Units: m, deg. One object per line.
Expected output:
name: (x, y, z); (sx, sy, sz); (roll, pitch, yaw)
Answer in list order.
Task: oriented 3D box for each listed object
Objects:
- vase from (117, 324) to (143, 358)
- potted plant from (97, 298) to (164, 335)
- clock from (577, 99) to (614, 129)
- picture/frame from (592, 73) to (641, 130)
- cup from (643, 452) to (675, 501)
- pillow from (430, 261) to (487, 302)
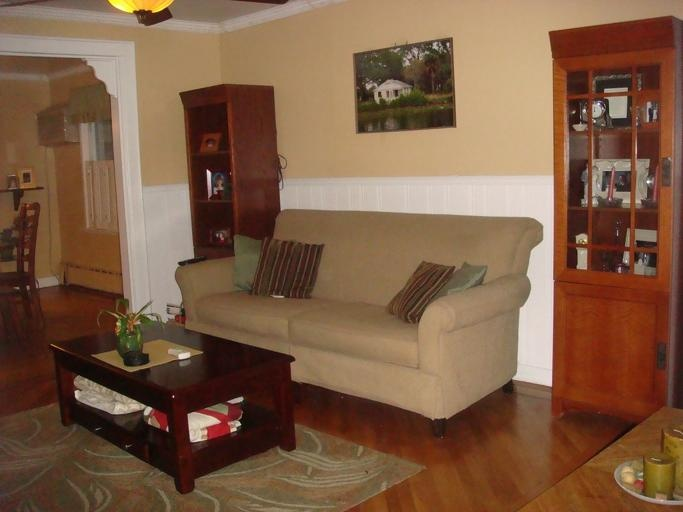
vase: (-1.230, 0.470, 3.300); (0.144, 0.196, 0.135); (-19, 43, -39)
potted plant: (-1.660, 0.481, 4.493); (0.427, 0.220, 0.427); (-5, 10, -42)
clock: (1.466, -0.810, 3.224); (0.150, 0.160, 0.041); (9, 12, 32)
picture/frame: (1.544, -0.875, 3.140); (0.275, 0.417, 0.029); (10, 22, 36)
cup: (1.018, 0.705, 1.823); (0.113, 0.135, 0.117); (0, 1, 0)
pillow: (0.744, 0.107, 3.532); (0.247, 0.101, 0.246); (-35, 7, -15)
